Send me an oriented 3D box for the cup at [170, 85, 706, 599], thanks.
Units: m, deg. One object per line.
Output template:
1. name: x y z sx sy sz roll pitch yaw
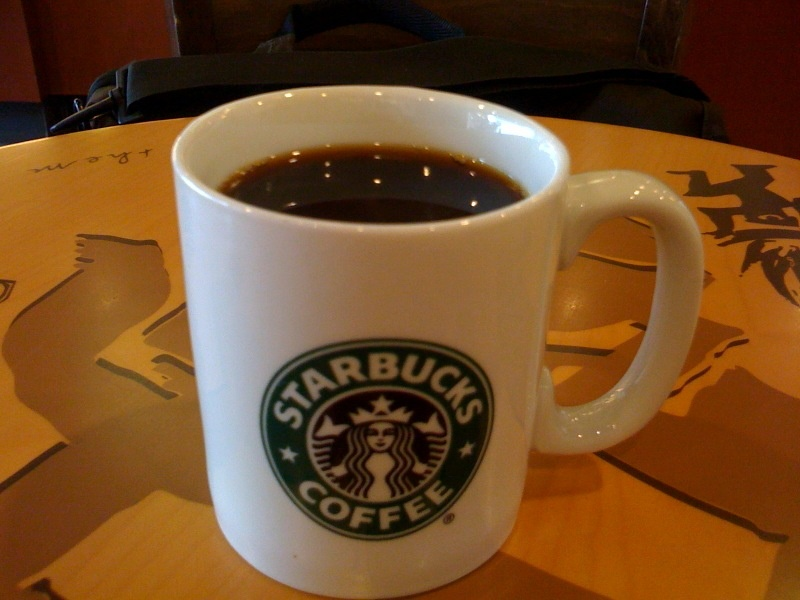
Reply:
1. cup: 0.054 0.007 0.543 0.380 0.324 0.266 -1 32 -8
